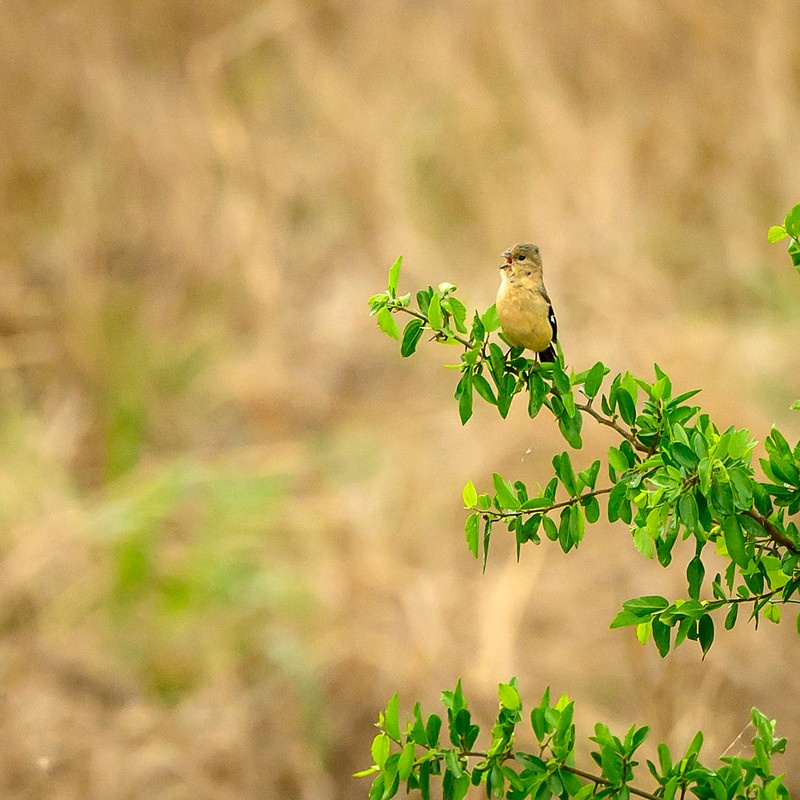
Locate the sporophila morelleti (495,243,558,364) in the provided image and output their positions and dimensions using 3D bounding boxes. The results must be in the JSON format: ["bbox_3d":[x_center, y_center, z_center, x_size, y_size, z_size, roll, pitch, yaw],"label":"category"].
[{"bbox_3d":[0.320,-0.263,3.681,0.154,0.230,0.209,-12,-62,-5],"label":"sporophila morelleti"}]
